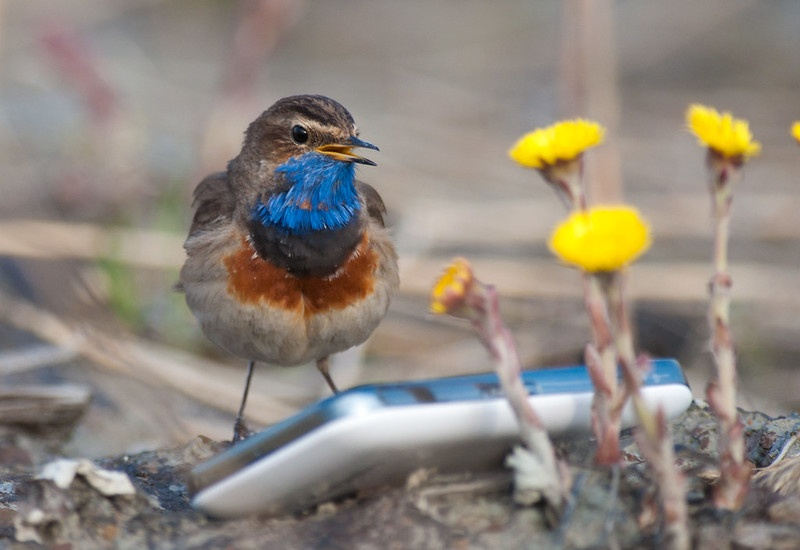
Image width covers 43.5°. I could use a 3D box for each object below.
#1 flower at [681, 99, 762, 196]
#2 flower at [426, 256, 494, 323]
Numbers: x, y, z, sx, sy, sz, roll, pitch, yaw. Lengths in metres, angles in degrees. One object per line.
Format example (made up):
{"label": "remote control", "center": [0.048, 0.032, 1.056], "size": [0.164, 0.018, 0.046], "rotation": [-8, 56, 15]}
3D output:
{"label": "flower", "center": [0.956, -0.408, 3.092], "size": [0.208, 0.271, 0.107], "rotation": [4, 24, -29]}
{"label": "flower", "center": [0.206, 0.049, 3.358], "size": [0.253, 0.166, 0.174], "rotation": [31, -13, -4]}
